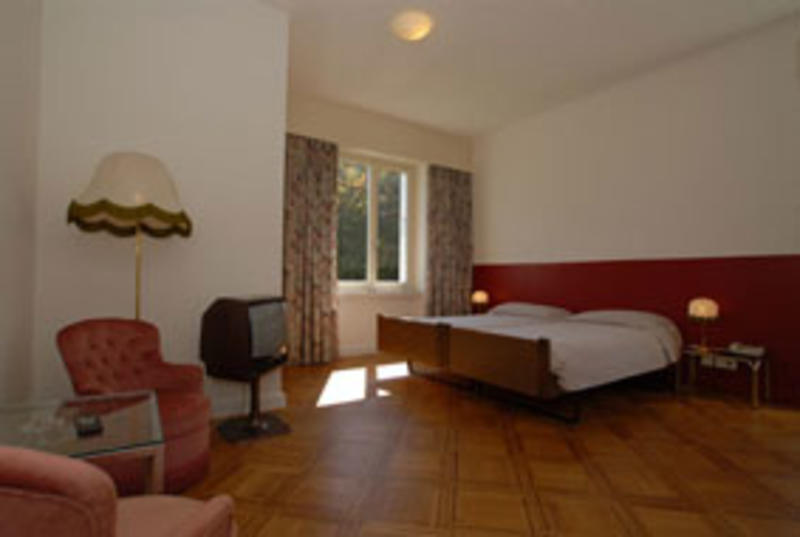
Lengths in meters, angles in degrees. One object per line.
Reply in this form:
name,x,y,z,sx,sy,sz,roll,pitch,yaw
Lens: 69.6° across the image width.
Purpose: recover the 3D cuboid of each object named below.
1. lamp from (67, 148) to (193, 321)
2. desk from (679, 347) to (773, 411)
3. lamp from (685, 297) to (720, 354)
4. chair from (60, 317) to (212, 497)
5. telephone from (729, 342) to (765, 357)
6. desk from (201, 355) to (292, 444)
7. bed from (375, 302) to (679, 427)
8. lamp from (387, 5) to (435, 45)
lamp,-2.241,-0.255,4.785,0.930,1.436,0.597,-3,1,-20
desk,3.299,1.052,5.904,0.545,0.591,0.765,0,3,-44
lamp,3.168,0.577,6.012,0.303,0.477,0.333,-3,1,28
chair,-2.047,1.037,4.562,1.073,1.228,0.893,-1,3,17
telephone,3.423,0.797,5.711,0.163,0.075,0.218,-6,2,-34
desk,-1.369,1.154,5.101,0.617,0.628,0.586,0,4,-40
bed,1.342,0.921,6.271,2.864,0.975,2.006,-3,1,37
lamp,0.110,-2.446,5.873,0.433,0.263,0.416,-3,1,3
